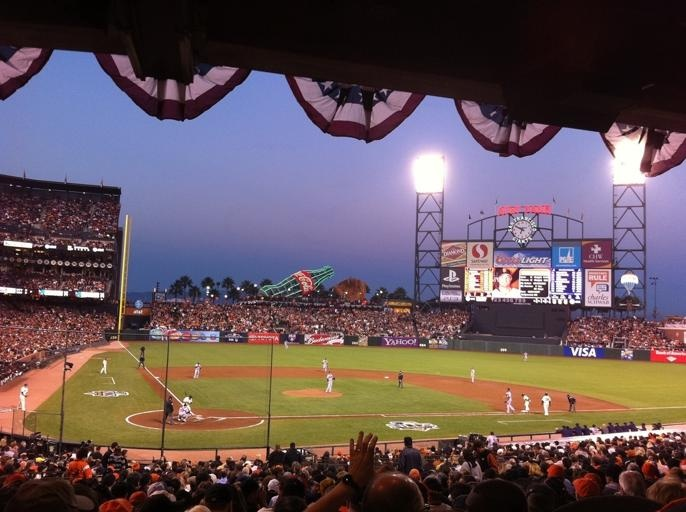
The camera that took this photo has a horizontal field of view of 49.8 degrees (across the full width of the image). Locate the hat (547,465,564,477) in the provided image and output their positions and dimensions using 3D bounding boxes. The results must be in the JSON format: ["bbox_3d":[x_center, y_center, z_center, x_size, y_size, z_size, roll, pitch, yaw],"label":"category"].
[{"bbox_3d":[3.772,3.844,13.145,0.235,0.172,0.334,1,1,13],"label":"hat"}]

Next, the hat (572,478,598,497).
[{"bbox_3d":[3.754,3.623,11.363,0.362,0.328,0.455,-1,-8,19],"label":"hat"}]

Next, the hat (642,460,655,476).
[{"bbox_3d":[5.584,3.914,13.506,0.222,0.273,0.295,2,7,20],"label":"hat"}]

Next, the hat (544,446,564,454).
[{"bbox_3d":[6.283,5.806,21.906,0.582,0.230,0.811,1,-6,5],"label":"hat"}]
